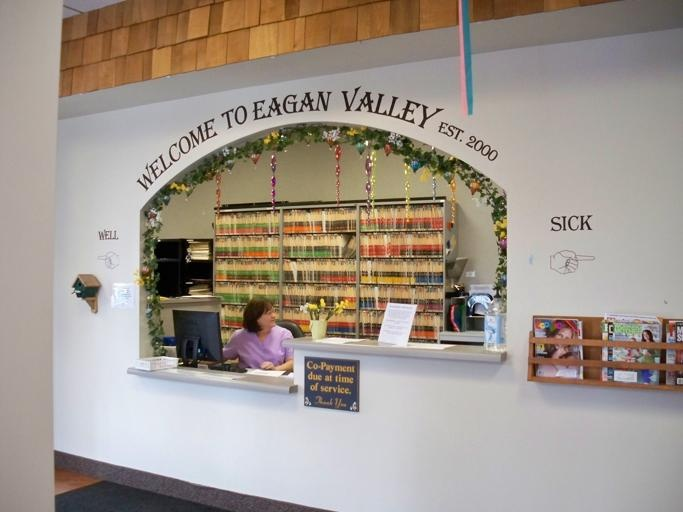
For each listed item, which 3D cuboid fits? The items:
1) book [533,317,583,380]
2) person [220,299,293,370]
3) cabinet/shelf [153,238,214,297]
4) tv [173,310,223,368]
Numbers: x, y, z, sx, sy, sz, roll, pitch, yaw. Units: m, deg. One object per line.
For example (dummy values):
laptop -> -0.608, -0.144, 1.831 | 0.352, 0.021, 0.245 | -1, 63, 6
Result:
book -> 1.427, 0.612, 4.183 | 0.364, 0.536, 0.056 | 1, -3, 22
person -> -0.817, 0.775, 6.345 | 0.682, 1.204, 0.384 | -1, -9, -8
cabinet/shelf -> -2.141, 0.167, 8.551 | 0.232, 0.721, 0.724 | 3, 4, 42
tv -> -1.222, 0.711, 5.420 | 0.423, 0.458, 0.147 | 1, 11, 30
